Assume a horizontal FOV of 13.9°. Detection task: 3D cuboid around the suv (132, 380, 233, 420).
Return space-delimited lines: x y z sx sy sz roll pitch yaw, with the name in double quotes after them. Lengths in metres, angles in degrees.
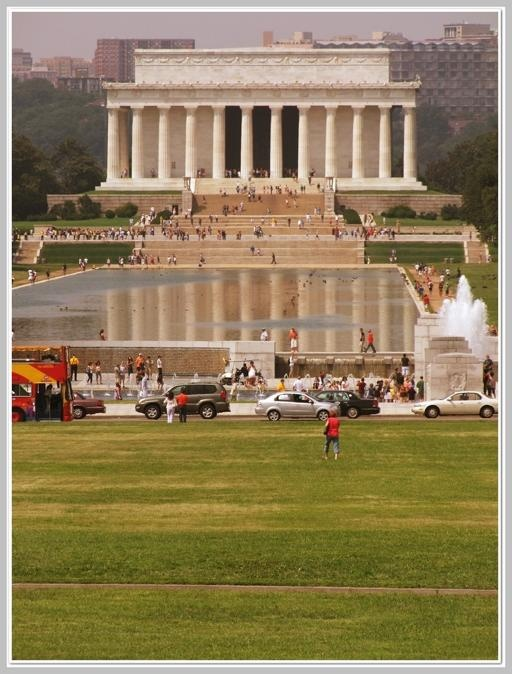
-1.592 1.499 48.066 1.992 1.017 1.454 1 13 -2 "suv"
